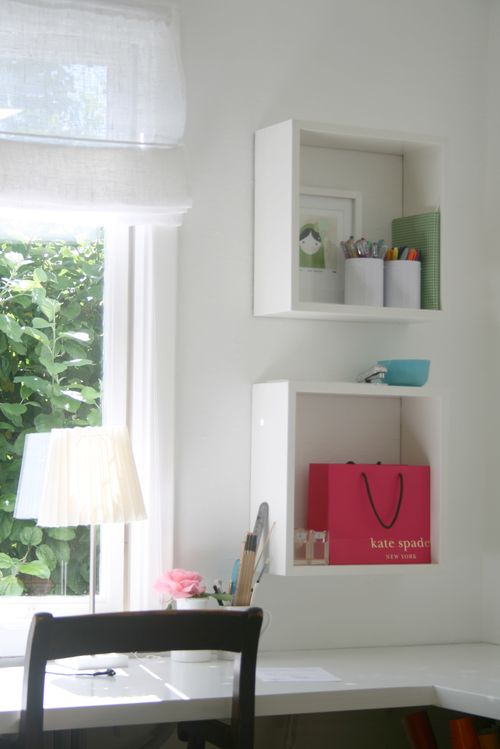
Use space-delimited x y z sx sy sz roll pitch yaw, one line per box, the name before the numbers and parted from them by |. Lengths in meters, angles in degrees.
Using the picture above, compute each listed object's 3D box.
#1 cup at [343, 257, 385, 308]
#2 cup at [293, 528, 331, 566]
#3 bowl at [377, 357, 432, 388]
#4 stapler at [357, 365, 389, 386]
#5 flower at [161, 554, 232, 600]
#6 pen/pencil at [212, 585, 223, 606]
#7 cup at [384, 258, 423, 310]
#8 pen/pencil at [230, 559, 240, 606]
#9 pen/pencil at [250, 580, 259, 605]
cup | 0.254 -0.213 1.706 0.109 0.117 0.108 1 -12 0
cup | 0.142 0.386 1.596 0.101 0.091 0.053 3 -7 -24
bowl | 0.368 -0.003 1.671 0.094 0.040 0.069 3 -9 -2
stapler | 0.294 0.010 1.686 0.044 0.020 0.055 9 -29 -44
flower | -0.126 0.429 1.493 0.101 0.043 0.100 4 6 23
pen/pencil | -0.068 0.473 1.524 0.012 0.051 0.014 -18 -1 -2
cup | 0.361 -0.210 1.675 0.090 0.113 0.070 1 7 6
pen/pencil | -0.033 0.454 1.552 0.019 0.078 0.012 13 -9 -22
pen/pencil | 0.012 0.493 1.604 0.020 0.073 0.020 1 30 -10
